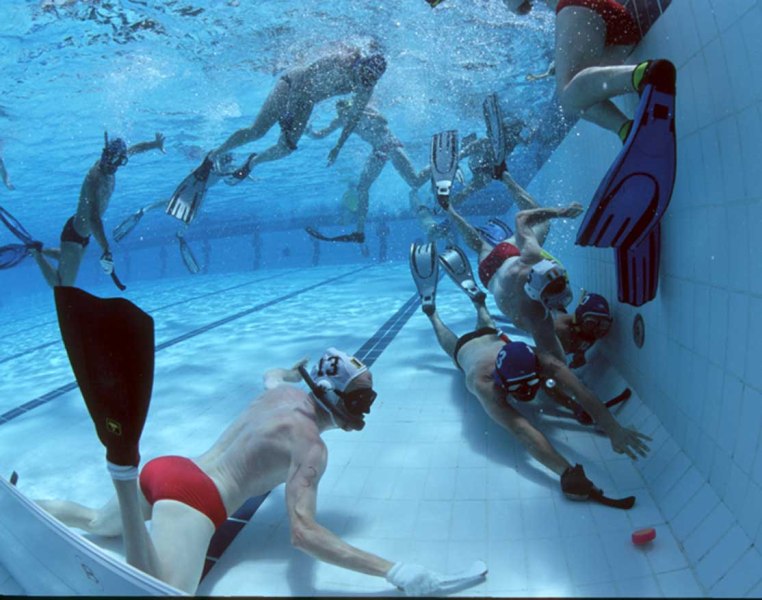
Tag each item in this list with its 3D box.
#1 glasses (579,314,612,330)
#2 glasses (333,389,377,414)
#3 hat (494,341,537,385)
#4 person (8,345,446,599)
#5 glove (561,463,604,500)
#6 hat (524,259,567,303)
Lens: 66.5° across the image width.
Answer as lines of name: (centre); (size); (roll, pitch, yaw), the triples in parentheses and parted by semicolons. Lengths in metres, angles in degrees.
glasses: (1.653, 0.176, 4.419); (0.119, 0.074, 0.156); (0, 9, 0)
glasses: (-0.127, 0.553, 3.354); (0.177, 0.114, 0.140); (10, 14, 10)
hat: (0.857, 0.413, 3.751); (0.209, 0.301, 0.266); (-3, 16, 2)
person: (-0.801, 0.903, 3.018); (1.402, 1.060, 1.405); (23, 1, -27)
glove: (1.177, 1.072, 3.404); (0.230, 0.161, 0.124); (0, 16, 18)
hat: (1.144, -0.136, 4.068); (0.233, 0.310, 0.288); (-26, 52, -2)
